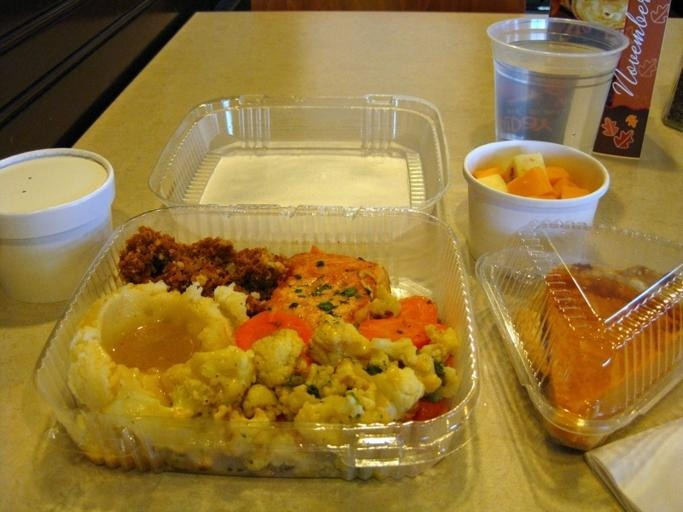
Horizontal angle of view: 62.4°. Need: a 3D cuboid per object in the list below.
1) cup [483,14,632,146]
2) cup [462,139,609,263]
[{"bbox_3d":[0.535,-0.418,1.436,0.310,0.249,0.296,-1,26,1],"label":"cup"},{"bbox_3d":[0.372,-0.112,1.208,0.255,0.203,0.274,-2,33,1],"label":"cup"}]
